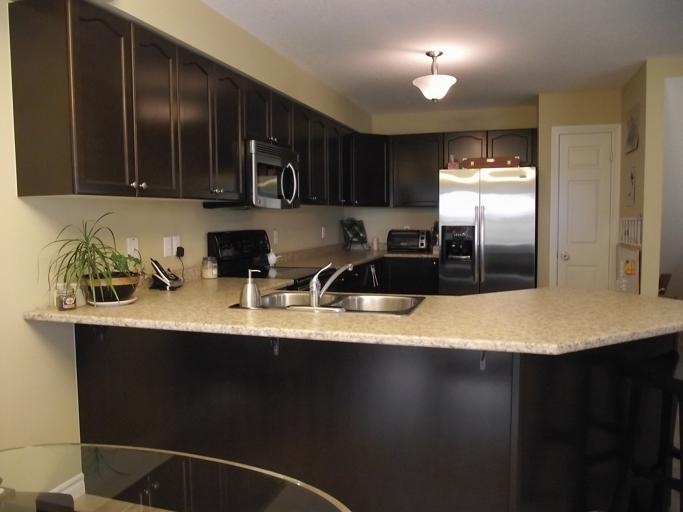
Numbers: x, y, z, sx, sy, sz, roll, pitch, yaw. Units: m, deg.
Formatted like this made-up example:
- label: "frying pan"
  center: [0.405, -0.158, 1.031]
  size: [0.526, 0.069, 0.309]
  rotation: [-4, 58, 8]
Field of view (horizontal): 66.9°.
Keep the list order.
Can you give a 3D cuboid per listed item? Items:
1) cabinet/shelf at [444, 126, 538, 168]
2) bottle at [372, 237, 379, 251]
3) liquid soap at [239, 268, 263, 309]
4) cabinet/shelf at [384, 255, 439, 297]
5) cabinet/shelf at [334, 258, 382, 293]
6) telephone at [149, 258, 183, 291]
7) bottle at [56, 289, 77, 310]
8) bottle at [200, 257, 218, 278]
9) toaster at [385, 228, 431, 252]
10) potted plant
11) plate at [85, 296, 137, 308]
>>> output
- label: "cabinet/shelf"
  center: [1.678, -1.190, 5.734]
  size: [0.569, 0.343, 0.168]
  rotation: [-1, -3, 21]
- label: "bottle"
  center: [0.430, -0.154, 6.405]
  size: [0.093, 0.139, 0.229]
  rotation: [-2, 5, 3]
- label: "liquid soap"
  center: [-0.479, 0.168, 2.685]
  size: [0.104, 0.177, 0.205]
  rotation: [-4, 5, -12]
- label: "cabinet/shelf"
  center: [0.798, 0.131, 5.746]
  size: [0.636, 0.628, 0.379]
  rotation: [2, 7, 14]
- label: "cabinet/shelf"
  center: [0.183, 0.207, 4.895]
  size: [0.310, 0.316, 0.482]
  rotation: [1, 8, 17]
- label: "telephone"
  center: [-1.063, 0.087, 3.195]
  size: [0.185, 0.210, 0.143]
  rotation: [1, 15, 6]
- label: "bottle"
  center: [-1.378, 0.216, 2.587]
  size: [0.100, 0.115, 0.100]
  rotation: [3, -4, -32]
- label: "bottle"
  center: [-0.922, 0.082, 3.655]
  size: [0.133, 0.146, 0.109]
  rotation: [-6, 6, -30]
- label: "toaster"
  center: [0.766, -0.162, 5.903]
  size: [0.365, 0.231, 0.285]
  rotation: [-1, -3, 14]
- label: "potted plant"
  center: [-1.294, 0.018, 2.801]
  size: [0.425, 0.471, 0.482]
  rotation: [-2, -1, -10]
- label: "plate"
  center: [-1.204, 0.238, 2.725]
  size: [0.242, 0.044, 0.140]
  rotation: [-5, 6, -25]
